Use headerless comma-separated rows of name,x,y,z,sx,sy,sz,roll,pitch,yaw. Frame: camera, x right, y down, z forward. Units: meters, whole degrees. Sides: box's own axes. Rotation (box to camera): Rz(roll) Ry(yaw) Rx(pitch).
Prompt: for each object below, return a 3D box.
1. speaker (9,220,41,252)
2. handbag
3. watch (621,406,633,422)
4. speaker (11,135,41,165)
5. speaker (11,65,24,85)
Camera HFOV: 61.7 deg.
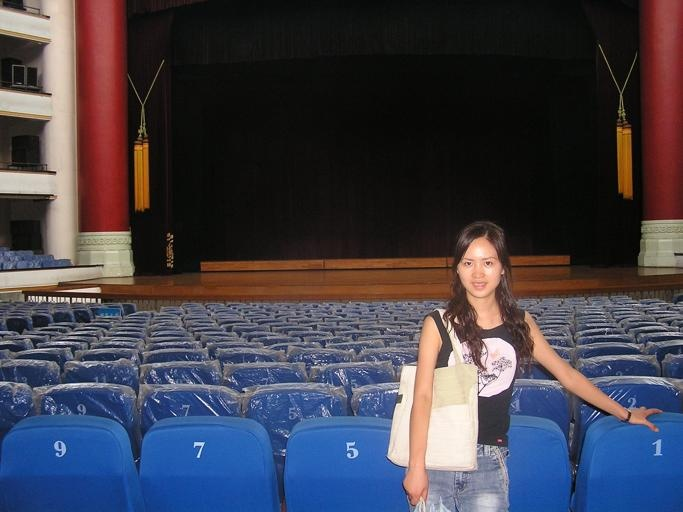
speaker,-9.229,-0.594,16.704,0.849,0.918,0.469,-1,-3,10
handbag,0.340,0.488,2.024,0.304,0.527,0.235,0,0,-42
watch,1.079,0.599,2.144,0.027,0.048,0.044,4,3,12
speaker,-8.799,-2.945,15.932,0.742,0.835,0.459,0,-3,-1
speaker,-8.738,-4.882,15.441,0.332,0.541,0.162,0,0,-35
